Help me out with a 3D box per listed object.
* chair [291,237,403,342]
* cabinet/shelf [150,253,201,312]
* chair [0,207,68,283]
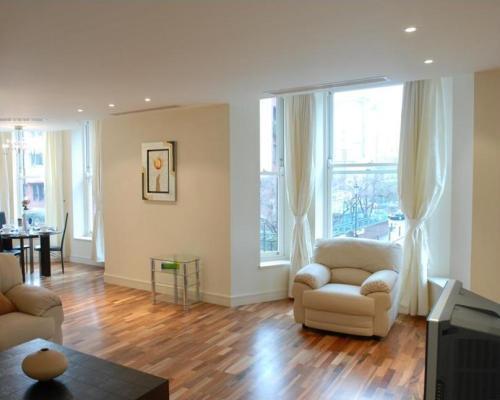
[{"bbox_3d":[1.194,1.018,4.818,1.171,1.028,1.116,1,2,24],"label":"chair"},{"bbox_3d":[-1.106,1.072,5.709,0.924,0.929,0.610,0,0,37],"label":"cabinet/shelf"},{"bbox_3d":[-3.964,0.790,7.317,1.178,1.268,1.147,-1,-4,38],"label":"chair"}]
